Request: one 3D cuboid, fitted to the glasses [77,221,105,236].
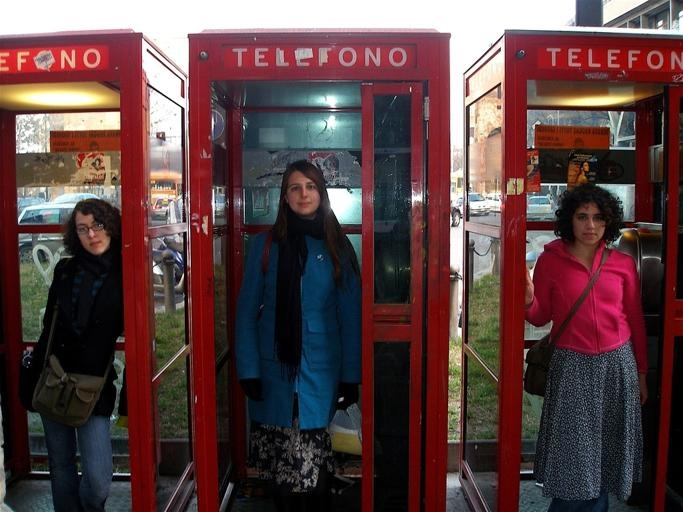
[{"bbox_3d":[-1.348,-0.148,3.318,0.143,0.073,0.041,1,2,6],"label":"glasses"}]

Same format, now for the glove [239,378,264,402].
[{"bbox_3d":[-0.464,0.688,3.193,0.105,0.128,0.105,-2,-8,-21],"label":"glove"}]

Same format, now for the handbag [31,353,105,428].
[{"bbox_3d":[-1.433,0.703,3.265,0.246,0.408,0.215,17,-3,-2],"label":"handbag"}]
